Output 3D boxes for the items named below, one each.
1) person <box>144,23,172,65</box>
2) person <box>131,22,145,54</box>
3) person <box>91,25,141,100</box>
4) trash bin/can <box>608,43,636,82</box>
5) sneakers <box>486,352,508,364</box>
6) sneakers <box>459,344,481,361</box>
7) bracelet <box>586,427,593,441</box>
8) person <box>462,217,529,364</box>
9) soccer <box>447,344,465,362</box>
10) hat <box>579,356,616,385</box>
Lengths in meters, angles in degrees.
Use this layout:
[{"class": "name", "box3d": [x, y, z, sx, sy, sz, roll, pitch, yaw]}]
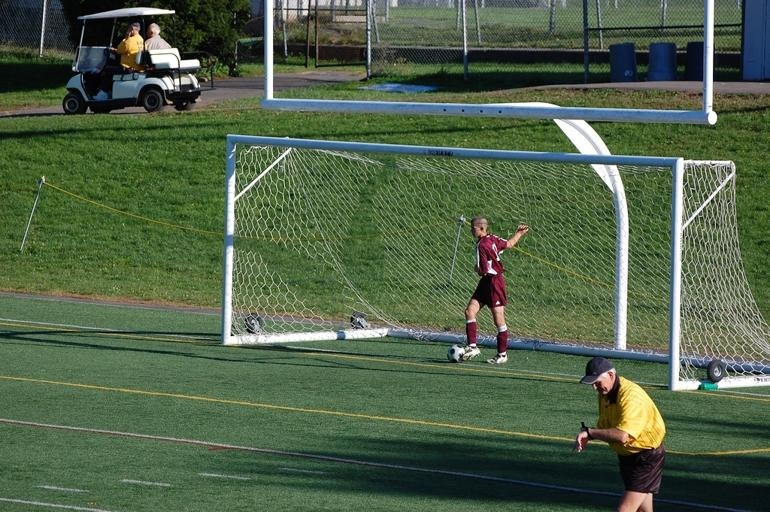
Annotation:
[{"class": "person", "box3d": [-6.463, -6.069, 42.144, 0.674, 0.750, 1.204, -1, 7, -9]}, {"class": "person", "box3d": [-6.969, -5.990, 41.787, 0.399, 0.847, 0.625, 2, 7, 14]}, {"class": "person", "box3d": [-7.535, -5.398, 42.028, 1.525, 2.033, 0.650, 4, 8, 28]}, {"class": "trash bin/can", "box3d": [6.642, -5.337, 41.633, 0.632, 1.032, 1.019, -5, 9, -36]}, {"class": "sneakers", "box3d": [2.223, 1.987, 29.481, 0.181, 0.192, 0.456, -1, 3, -35]}, {"class": "sneakers", "box3d": [1.676, 1.850, 29.391, 0.191, 0.238, 0.506, -29, 15, -33]}, {"class": "bracelet", "box3d": [3.294, 2.829, 24.040, 0.061, 0.151, 0.115, -25, 3, 32]}, {"class": "person", "box3d": [2.067, 0.674, 29.180, 1.049, 2.890, 0.893, -1, 7, -10]}, {"class": "soccer", "box3d": [1.382, 1.922, 29.515, 0.338, 0.317, 0.312, 29, -13, -8]}, {"class": "hat", "box3d": [3.404, 1.839, 24.159, 0.578, 0.290, 0.359, -22, 10, -22]}]
